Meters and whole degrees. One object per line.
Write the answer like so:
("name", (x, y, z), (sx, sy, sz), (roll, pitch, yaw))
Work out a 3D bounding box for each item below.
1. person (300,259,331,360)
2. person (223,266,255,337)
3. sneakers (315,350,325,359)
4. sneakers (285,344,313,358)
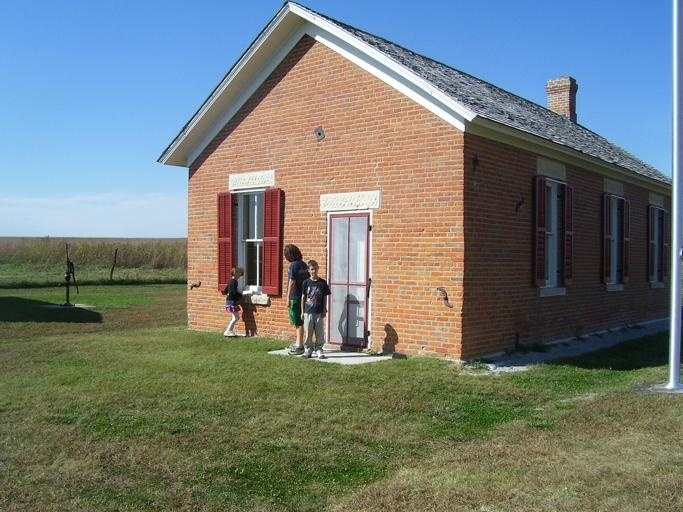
("person", (-0.513, 1.048, 11.715), (0.547, 1.936, 0.545), (-2, 3, -4))
("person", (-2.616, 1.105, 14.502), (0.574, 1.637, 0.842), (-2, 3, -9))
("sneakers", (-0.442, 1.956, 11.743), (0.124, 0.085, 0.224), (2, 8, -2))
("sneakers", (-0.874, 1.885, 11.809), (0.575, 0.282, 0.224), (5, -3, 4))
